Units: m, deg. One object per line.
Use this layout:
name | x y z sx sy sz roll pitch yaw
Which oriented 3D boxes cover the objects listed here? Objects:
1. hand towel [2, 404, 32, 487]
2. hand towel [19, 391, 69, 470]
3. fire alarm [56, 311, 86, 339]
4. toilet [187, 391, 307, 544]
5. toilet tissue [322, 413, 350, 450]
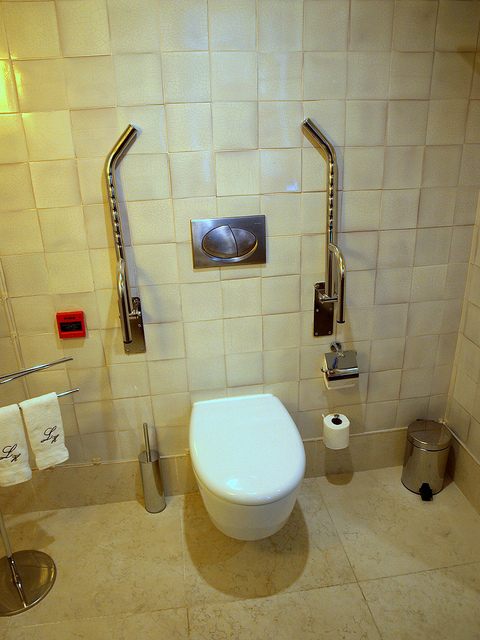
hand towel | -0.643 0.360 1.499 0.148 0.212 0.108 -5 31 -27
hand towel | -0.593 0.338 1.525 0.114 0.227 0.038 -18 19 -39
fire alarm | -0.555 0.011 1.632 0.081 0.089 0.032 -4 33 -6
toilet | 0.006 0.468 1.577 0.355 0.242 0.468 -2 24 -8
toilet tissue | 0.349 0.413 1.864 0.115 0.118 0.111 -5 23 -2
